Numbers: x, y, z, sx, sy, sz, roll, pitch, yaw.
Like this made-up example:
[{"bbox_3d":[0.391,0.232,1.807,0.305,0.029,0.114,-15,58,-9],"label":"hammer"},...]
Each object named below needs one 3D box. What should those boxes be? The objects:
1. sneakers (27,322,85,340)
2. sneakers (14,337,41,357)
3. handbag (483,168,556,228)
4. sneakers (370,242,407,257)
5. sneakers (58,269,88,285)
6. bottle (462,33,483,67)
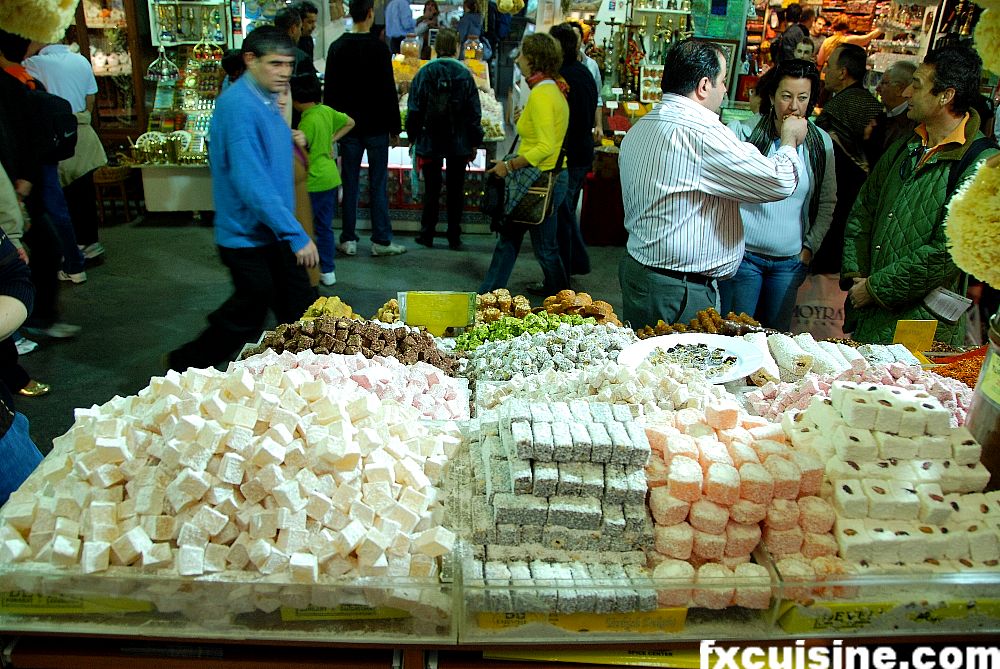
[{"bbox_3d":[-3.289,-0.028,5.759,0.331,0.132,0.109,-10,24,-31],"label":"sneakers"},{"bbox_3d":[-3.346,0.068,5.503,0.163,0.058,0.166,12,17,-14],"label":"sneakers"},{"bbox_3d":[0.168,-1.048,5.933,0.500,0.452,0.240,9,-8,14],"label":"handbag"},{"bbox_3d":[-1.091,-0.857,7.642,0.371,0.149,0.123,-6,29,-15],"label":"sneakers"},{"bbox_3d":[-3.603,-0.479,6.604,0.233,0.101,0.095,1,11,17],"label":"sneakers"},{"bbox_3d":[-0.311,-3.196,8.732,0.299,0.391,0.363,2,11,1],"label":"bottle"}]
